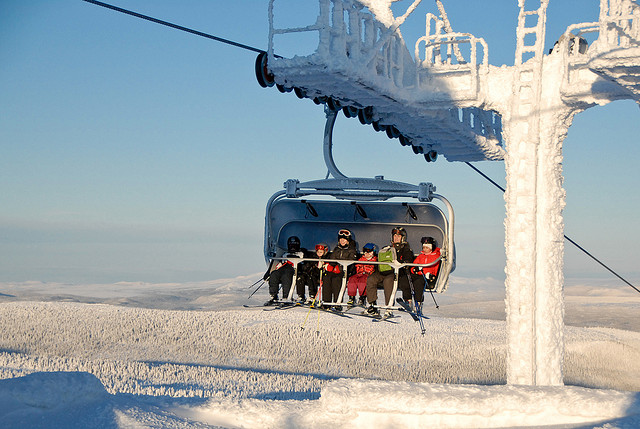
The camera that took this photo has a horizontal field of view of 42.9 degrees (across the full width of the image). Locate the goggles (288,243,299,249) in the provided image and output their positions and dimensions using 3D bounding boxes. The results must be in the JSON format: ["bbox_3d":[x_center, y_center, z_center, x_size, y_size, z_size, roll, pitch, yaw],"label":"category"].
[{"bbox_3d":[-0.683,0.805,20.666,0.252,0.147,0.128,1,-5,-1],"label":"goggles"}]

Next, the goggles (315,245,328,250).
[{"bbox_3d":[-0.003,0.827,20.382,0.293,0.114,0.202,-1,-5,17],"label":"goggles"}]

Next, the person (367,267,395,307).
[{"bbox_3d":[1.479,1.780,19.903,0.683,0.930,0.483,0,-5,11],"label":"person"}]

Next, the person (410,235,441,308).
[{"bbox_3d":[2.593,1.425,20.213,0.766,1.772,0.657,3,-5,-23],"label":"person"}]

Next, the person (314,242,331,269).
[{"bbox_3d":[0.038,1.064,20.507,0.563,0.692,0.410,-3,-19,21],"label":"person"}]

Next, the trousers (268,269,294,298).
[{"bbox_3d":[-0.985,1.747,20.590,0.715,0.706,0.273,-2,-5,25],"label":"trousers"}]

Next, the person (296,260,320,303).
[{"bbox_3d":[-0.325,1.683,20.502,0.556,1.000,0.480,1,-5,-6],"label":"person"}]

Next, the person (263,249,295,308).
[{"bbox_3d":[-0.979,1.577,20.698,0.732,1.544,0.597,2,32,-18],"label":"person"}]

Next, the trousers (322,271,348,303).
[{"bbox_3d":[0.290,1.786,20.191,0.564,0.744,0.270,-1,-5,15],"label":"trousers"}]
